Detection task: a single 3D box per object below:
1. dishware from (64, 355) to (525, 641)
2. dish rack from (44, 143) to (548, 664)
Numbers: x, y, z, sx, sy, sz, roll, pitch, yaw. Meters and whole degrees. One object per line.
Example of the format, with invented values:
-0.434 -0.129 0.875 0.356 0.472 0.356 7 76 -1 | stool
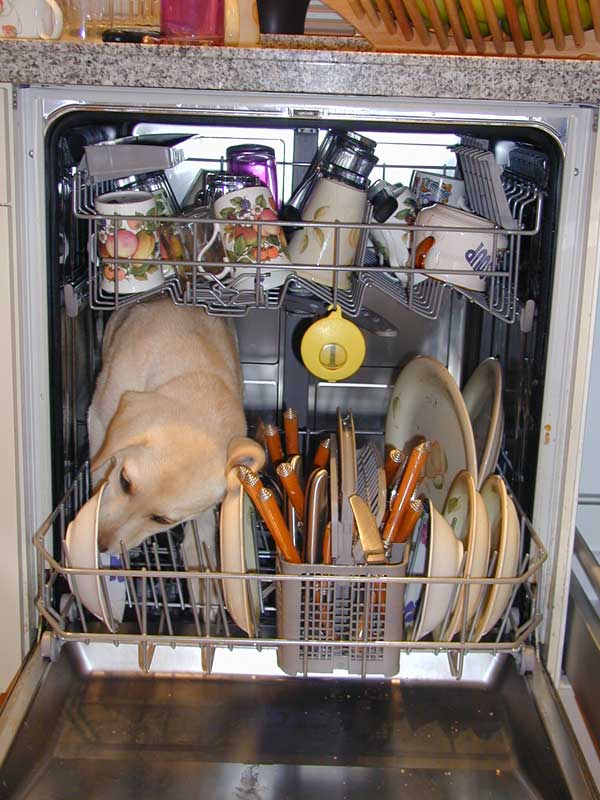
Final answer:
-0.002 0.176 0.835 0.496 0.212 0.383 -3 41 3 | dishware
-0.014 0.006 0.850 0.432 0.132 0.608 0 63 9 | dish rack
